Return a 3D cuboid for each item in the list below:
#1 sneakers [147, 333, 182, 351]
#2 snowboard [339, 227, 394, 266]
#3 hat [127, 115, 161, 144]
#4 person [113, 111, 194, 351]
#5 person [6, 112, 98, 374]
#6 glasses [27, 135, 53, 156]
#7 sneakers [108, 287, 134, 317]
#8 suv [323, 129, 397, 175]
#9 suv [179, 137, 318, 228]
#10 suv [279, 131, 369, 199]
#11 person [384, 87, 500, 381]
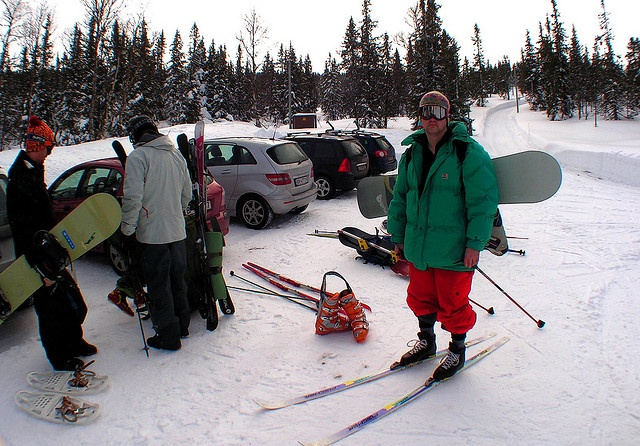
[{"bbox_3d":[-1.920,1.467,5.440,0.457,0.195,0.172,1,8,11],"label":"sneakers"},{"bbox_3d":[0.787,0.445,7.375,0.794,0.301,0.540,14,36,-5],"label":"snowboard"},{"bbox_3d":[-2.194,-1.125,5.398,0.298,0.346,0.345,-31,29,-22],"label":"hat"},{"bbox_3d":[-1.976,0.147,5.349,0.776,2.812,0.508,-4,9,-16],"label":"person"},{"bbox_3d":[-3.149,0.244,5.057,0.719,2.903,0.503,2,9,21],"label":"person"},{"bbox_3d":[-3.264,-0.868,5.118,0.192,0.187,0.244,17,7,17],"label":"glasses"},{"bbox_3d":[-2.671,1.056,5.834,0.457,0.195,0.155,42,7,-22],"label":"sneakers"},{"bbox_3d":[1.255,-2.134,13.538,2.131,1.103,1.272,8,14,21],"label":"suv"},{"bbox_3d":[-1.419,-0.959,9.341,2.425,1.162,1.413,12,17,23],"label":"suv"},{"bbox_3d":[0.140,-1.559,11.758,2.254,1.216,1.368,10,16,23],"label":"suv"},{"bbox_3d":[1.351,0.170,4.862,1.156,3.143,0.490,2,9,22],"label":"person"}]
